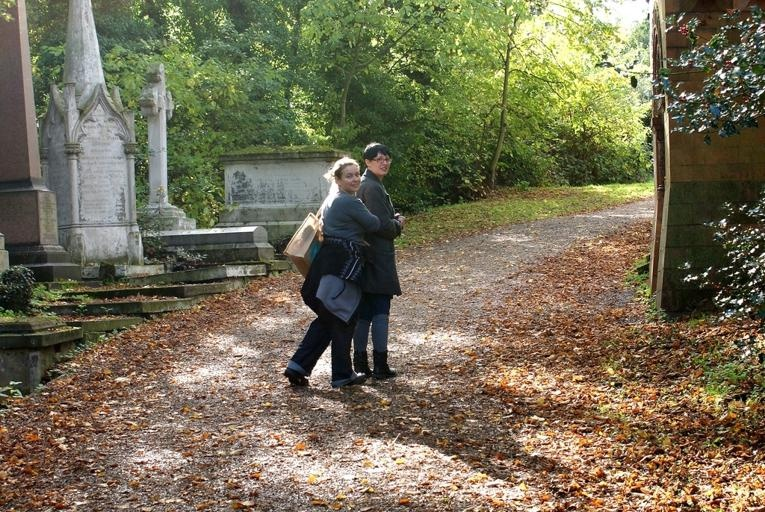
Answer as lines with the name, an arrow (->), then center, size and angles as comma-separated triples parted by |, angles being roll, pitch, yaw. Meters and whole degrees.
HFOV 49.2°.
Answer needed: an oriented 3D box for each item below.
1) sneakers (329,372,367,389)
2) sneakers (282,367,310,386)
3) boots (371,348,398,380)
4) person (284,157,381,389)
sneakers -> -0.402, 1.495, 10.204 | 0.422, 0.151, 0.161 | -13, 26, -18
sneakers -> -1.054, 1.485, 10.138 | 0.156, 0.363, 0.147 | -36, 28, 27
boots -> 0.118, 1.376, 10.408 | 0.463, 0.356, 0.218 | -4, 5, -29
person -> -0.604, 0.209, 10.131 | 1.256, 2.690, 0.653 | -14, 16, -40
